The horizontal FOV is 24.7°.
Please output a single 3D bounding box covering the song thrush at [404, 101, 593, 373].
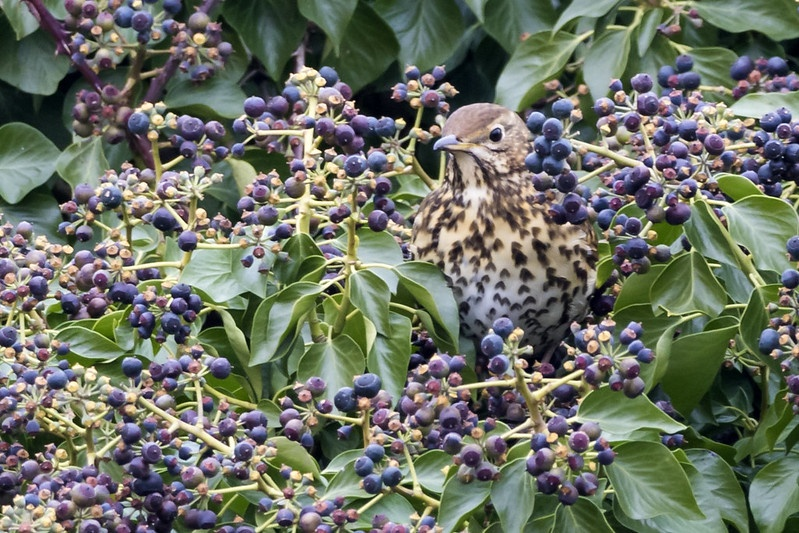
[{"bbox_3d":[0.306,-0.096,5.261,0.544,0.726,0.724,-4,92,25],"label":"song thrush"}]
